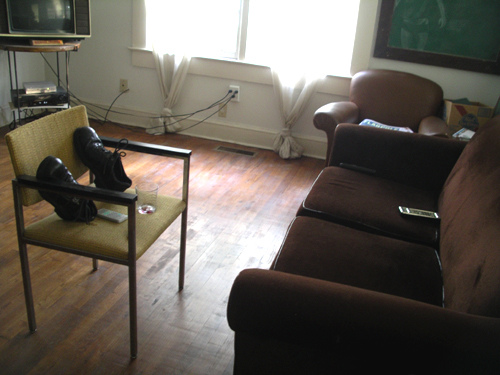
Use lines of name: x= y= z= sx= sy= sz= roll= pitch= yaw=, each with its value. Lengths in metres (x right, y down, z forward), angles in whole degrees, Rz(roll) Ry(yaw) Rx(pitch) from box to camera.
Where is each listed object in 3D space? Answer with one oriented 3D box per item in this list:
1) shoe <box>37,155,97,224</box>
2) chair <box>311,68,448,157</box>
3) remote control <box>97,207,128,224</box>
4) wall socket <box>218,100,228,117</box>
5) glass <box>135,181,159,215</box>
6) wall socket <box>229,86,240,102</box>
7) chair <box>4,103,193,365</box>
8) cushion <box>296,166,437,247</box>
shoe: x=-0.787 y=0.017 z=1.670 sx=0.185 sy=0.291 sz=0.128 roll=6 pitch=25 yaw=7
chair: x=1.142 y=-0.488 z=3.320 sx=0.939 sy=0.962 sz=0.788 roll=16 pitch=26 yaw=34
remote control: x=-0.641 y=0.123 z=1.781 sx=0.122 sy=0.017 sz=0.068 roll=18 pitch=26 yaw=20
wall socket: x=-0.291 y=-0.855 z=4.199 sx=0.093 sy=0.174 sz=0.020 roll=6 pitch=24 yaw=8
glass: x=-0.491 y=0.042 z=1.927 sx=0.132 sy=0.155 sz=0.137 roll=7 pitch=13 yaw=17
wall socket: x=-0.158 y=-1.008 z=4.109 sx=0.137 sy=0.197 sz=0.020 roll=6 pitch=23 yaw=8
chair: x=-0.727 y=0.163 z=1.832 sx=0.731 sy=0.925 sz=0.673 roll=8 pitch=25 yaw=13
cushion: x=0.645 y=0.169 z=2.089 sx=0.506 sy=0.136 sz=0.521 roll=16 pitch=30 yaw=9
